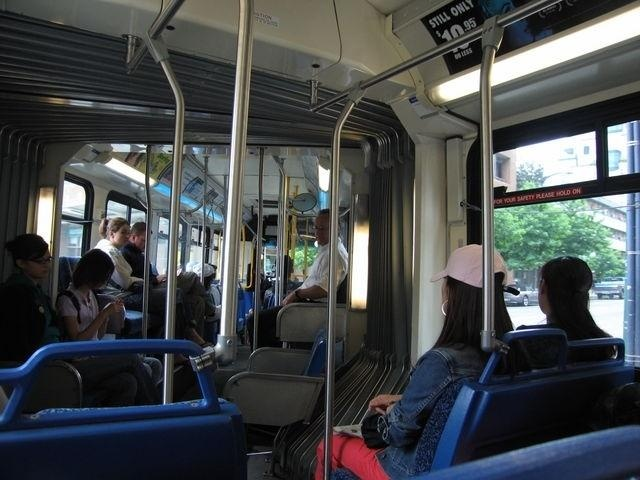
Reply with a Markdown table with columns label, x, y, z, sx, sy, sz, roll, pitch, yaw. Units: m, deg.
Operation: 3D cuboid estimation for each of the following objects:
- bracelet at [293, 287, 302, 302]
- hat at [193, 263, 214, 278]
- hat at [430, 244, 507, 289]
| label | x | y | z | sx | sy | sz | roll | pitch | yaw |
| --- | --- | --- | --- | --- | --- | --- | --- | --- | --- |
| bracelet | -0.271 | 0.642 | 5.591 | 0.085 | 0.149 | 0.133 | 7 | -4 | -14 |
| hat | -1.528 | 0.410 | 6.502 | 0.205 | 0.113 | 0.274 | 2 | -1 | 39 |
| hat | 0.765 | 0.133 | 2.432 | 0.287 | 0.160 | 0.211 | 7 | -5 | 28 |
